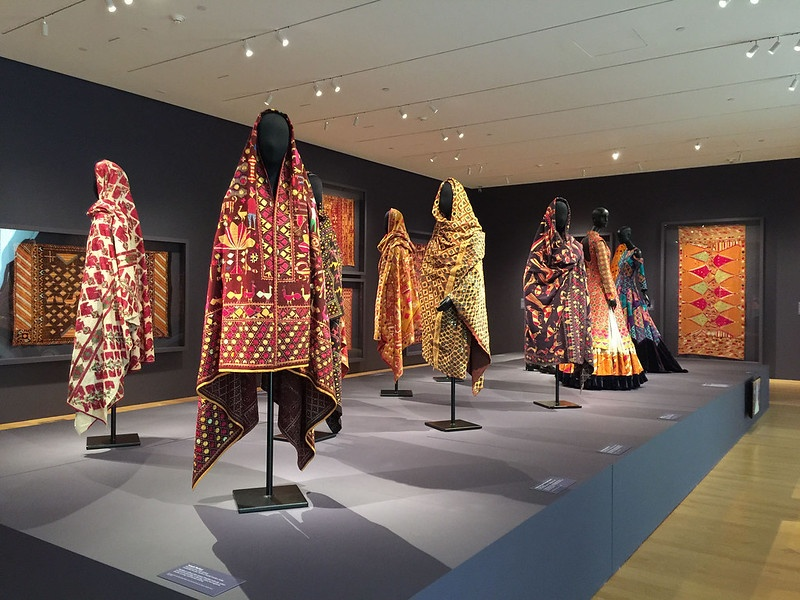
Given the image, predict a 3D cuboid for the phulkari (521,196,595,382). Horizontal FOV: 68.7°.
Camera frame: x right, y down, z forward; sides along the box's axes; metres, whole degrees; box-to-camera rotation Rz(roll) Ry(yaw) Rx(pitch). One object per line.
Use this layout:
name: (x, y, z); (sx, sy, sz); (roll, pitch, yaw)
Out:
phulkari: (1.414, -0.070, 5.126); (0.616, 1.592, 0.525); (0, 4, 3)

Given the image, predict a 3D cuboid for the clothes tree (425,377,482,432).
clothes tree: (0.392, 0.770, 4.419); (0.407, 0.378, 0.416); (0, -3, -10)

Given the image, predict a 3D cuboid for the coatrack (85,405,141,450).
coatrack: (-2.006, 0.929, 4.074); (0.390, 0.404, 0.325); (1, -3, -28)

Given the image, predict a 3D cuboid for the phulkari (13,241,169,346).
phulkari: (-2.512, -0.052, 4.560); (1.095, 0.751, 0.053); (-1, 4, -43)

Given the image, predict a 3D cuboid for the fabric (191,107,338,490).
fabric: (-0.700, -0.044, 3.011); (0.705, 1.818, 0.553); (2, -8, -22)

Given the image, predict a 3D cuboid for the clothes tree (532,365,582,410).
clothes tree: (1.394, 0.757, 5.263); (0.390, 0.501, 0.378); (0, -2, -14)

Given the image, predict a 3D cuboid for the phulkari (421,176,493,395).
phulkari: (0.420, -0.092, 4.385); (0.496, 1.670, 0.472); (-1, 4, -5)

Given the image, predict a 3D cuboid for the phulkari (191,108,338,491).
phulkari: (-0.692, -0.010, 2.932); (0.707, 1.852, 0.433); (-2, 4, -19)

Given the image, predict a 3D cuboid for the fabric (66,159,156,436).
fabric: (-1.961, -0.054, 3.920); (0.389, 1.775, 0.571); (1, 4, 18)

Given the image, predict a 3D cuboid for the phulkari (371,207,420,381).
phulkari: (-0.024, -0.022, 5.774); (0.452, 1.781, 0.690); (0, 4, 1)
